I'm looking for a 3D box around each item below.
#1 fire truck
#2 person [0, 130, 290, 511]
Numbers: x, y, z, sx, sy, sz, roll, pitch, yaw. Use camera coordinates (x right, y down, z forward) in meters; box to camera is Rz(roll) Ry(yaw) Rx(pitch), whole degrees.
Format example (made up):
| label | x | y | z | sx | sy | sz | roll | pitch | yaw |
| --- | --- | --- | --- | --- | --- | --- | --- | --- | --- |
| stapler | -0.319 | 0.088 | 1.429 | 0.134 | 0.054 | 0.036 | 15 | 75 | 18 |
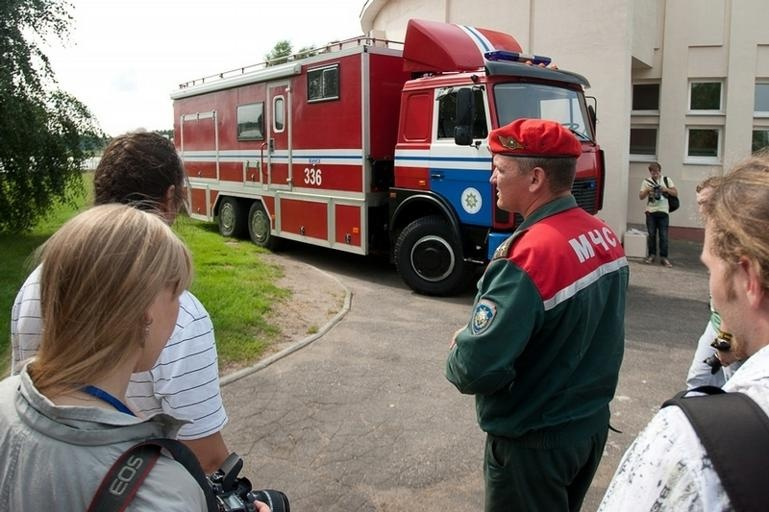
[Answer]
| label | x | y | z | sx | sy | sz | roll | pitch | yaw |
| --- | --- | --- | --- | --- | --- | --- | --- | --- | --- |
| fire truck | -0.456 | -2.001 | 11.389 | 7.929 | 4.352 | 3.185 | 8 | 14 | 37 |
| person | -1.130 | 0.217 | 2.368 | 0.830 | 1.468 | 1.038 | -5 | 11 | -26 |
